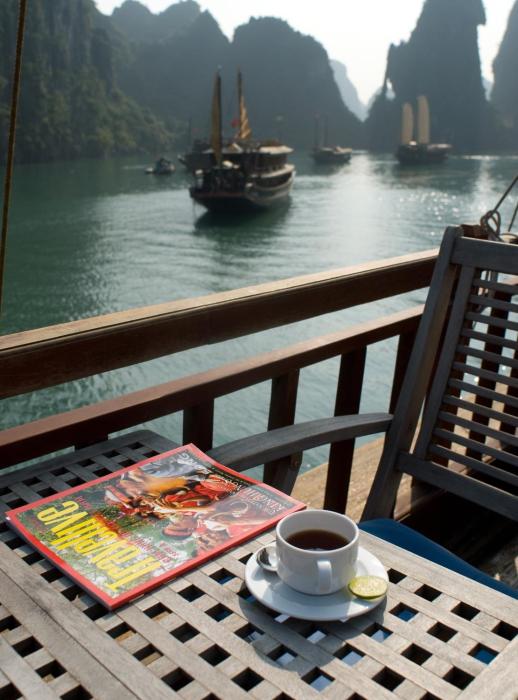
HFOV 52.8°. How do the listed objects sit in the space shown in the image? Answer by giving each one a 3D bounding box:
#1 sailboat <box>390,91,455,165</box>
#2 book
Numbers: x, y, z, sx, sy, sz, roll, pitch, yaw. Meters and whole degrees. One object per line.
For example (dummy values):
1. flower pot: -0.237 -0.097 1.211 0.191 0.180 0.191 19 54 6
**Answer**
1. sailboat: 12.984 -17.432 40.878 6.913 7.224 2.702 -12 13 -38
2. book: -0.088 0.144 0.433 0.095 0.011 0.109 16 25 41
